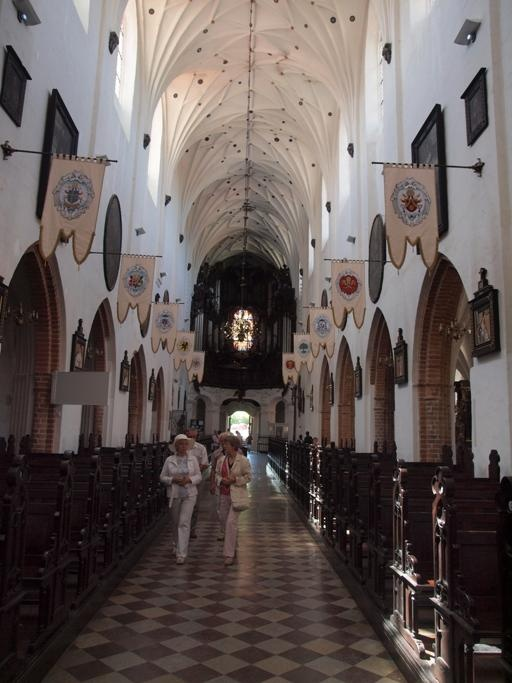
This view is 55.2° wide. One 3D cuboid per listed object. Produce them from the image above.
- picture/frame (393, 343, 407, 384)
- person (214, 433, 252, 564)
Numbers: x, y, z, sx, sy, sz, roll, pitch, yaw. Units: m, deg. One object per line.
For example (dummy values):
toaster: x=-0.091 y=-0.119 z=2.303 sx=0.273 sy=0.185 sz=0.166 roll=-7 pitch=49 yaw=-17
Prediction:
picture/frame: x=2.894 y=0.398 z=9.954 sx=0.522 sy=0.844 sz=0.065 roll=-5 pitch=3 yaw=-44
person: x=-0.274 y=1.911 z=6.151 sx=0.383 sy=1.503 sz=0.660 roll=4 pitch=-9 yaw=-17
